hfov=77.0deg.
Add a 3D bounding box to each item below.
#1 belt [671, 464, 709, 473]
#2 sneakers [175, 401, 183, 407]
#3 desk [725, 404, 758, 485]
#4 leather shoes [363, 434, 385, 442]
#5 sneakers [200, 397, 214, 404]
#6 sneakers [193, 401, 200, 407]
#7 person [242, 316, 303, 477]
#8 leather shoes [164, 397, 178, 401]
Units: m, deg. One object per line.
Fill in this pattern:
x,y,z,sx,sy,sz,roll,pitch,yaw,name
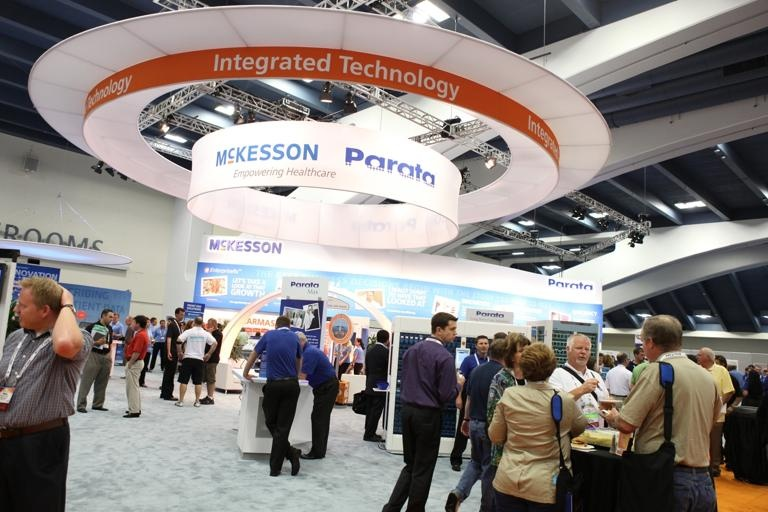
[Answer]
2.048,1.402,3.203,0.326,0.063,0.044,7,-8,-21,belt
-3.888,2.798,9.173,0.090,0.088,0.210,2,-3,-17,sneakers
5.278,2.763,7.090,0.440,1.005,0.369,-1,-9,36,desk
-0.156,2.885,7.699,0.318,0.130,0.115,-1,-5,6,leather shoes
-3.501,2.876,9.586,0.127,0.077,0.188,-4,-15,20,sneakers
-3.559,2.805,9.191,0.097,0.073,0.176,0,-5,7,sneakers
-1.297,1.641,5.792,0.728,1.815,0.435,5,-7,1,person
-4.254,2.869,9.674,0.236,0.091,0.076,8,-19,5,leather shoes
